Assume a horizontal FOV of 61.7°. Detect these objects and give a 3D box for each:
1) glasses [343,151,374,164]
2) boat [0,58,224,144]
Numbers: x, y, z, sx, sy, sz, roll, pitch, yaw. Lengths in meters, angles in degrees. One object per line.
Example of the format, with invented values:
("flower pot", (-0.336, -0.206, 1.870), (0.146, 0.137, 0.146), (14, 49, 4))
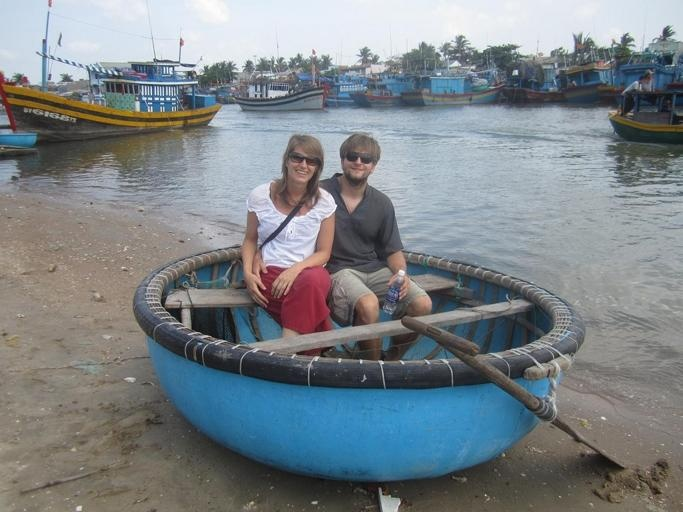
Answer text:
("glasses", (0.127, -0.740, 4.283), (0.203, 0.089, 0.060), (-2, 18, -8))
("boat", (-11.507, -7.928, 28.349), (6.722, 4.011, 11.895), (1, 15, 5))
